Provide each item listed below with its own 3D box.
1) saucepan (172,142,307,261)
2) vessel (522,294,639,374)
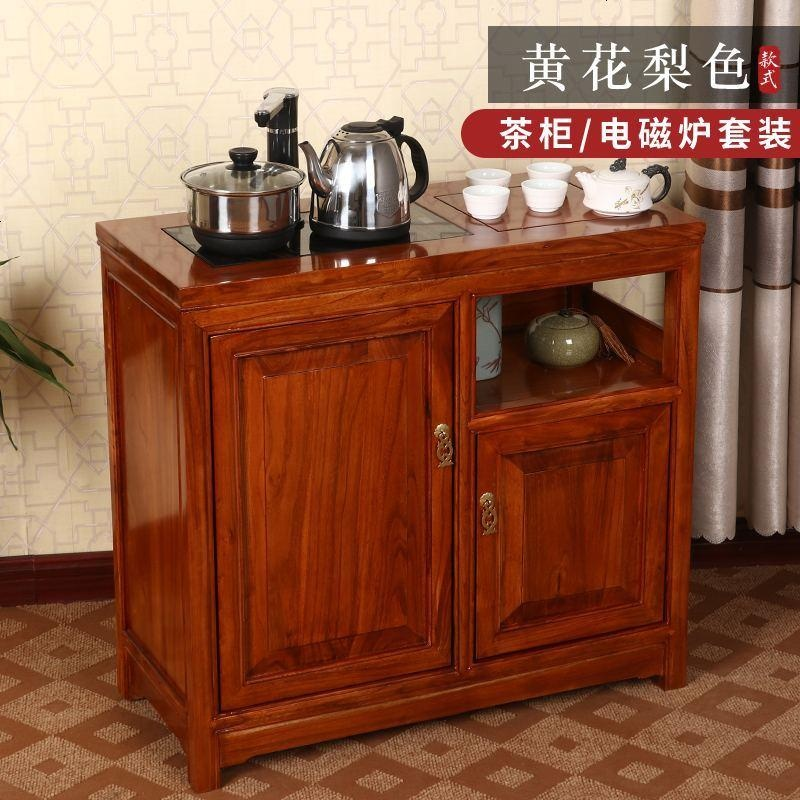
[{"bbox_3d":[-0.239,-0.320,1.297,0.207,0.131,0.178,1,27,-4],"label":"saucepan"},{"bbox_3d":[0.355,-0.116,1.635,0.203,0.078,0.119,-5,14,-31],"label":"vessel"}]
